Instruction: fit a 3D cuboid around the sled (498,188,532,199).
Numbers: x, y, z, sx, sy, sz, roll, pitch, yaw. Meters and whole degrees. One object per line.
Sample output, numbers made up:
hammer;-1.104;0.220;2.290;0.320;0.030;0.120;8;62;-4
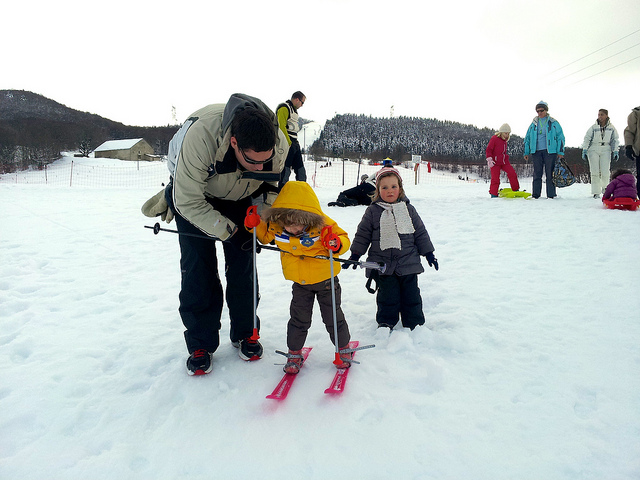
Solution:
sled;3.800;-0.912;9.068;0.448;0.183;0.691;-9;12;-44

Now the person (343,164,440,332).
person;0.681;0.062;4.347;0.773;1.527;0.436;0;7;3

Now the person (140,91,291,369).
person;-0.781;-0.040;3.771;1.088;2.167;0.658;2;8;17

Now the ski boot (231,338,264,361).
ski boot;-0.607;0.928;3.950;0.126;0.116;0.268;-5;8;-41

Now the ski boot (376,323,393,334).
ski boot;0.606;0.824;4.309;0.142;0.053;0.130;2;9;18

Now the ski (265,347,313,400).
ski;-0.252;1.066;3.733;0.119;0.040;0.794;3;21;12

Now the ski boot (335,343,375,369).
ski boot;0.234;0.971;3.766;0.210;0.115;0.273;0;4;7

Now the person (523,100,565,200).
person;4.070;-1.612;8.432;0.660;1.763;0.535;4;9;33

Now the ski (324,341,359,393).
ski;0.167;1.105;3.716;0.099;0.045;0.784;-1;29;19
